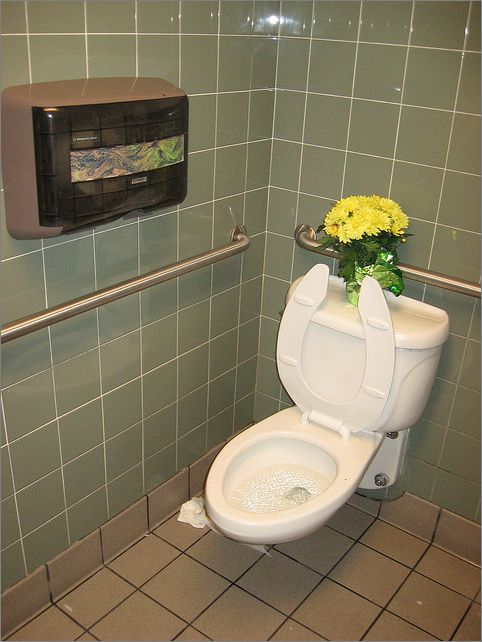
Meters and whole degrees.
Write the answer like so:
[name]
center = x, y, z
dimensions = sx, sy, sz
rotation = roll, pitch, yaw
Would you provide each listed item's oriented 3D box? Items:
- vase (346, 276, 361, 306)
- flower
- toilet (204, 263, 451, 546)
[vase]
center = 0.314, -0.085, 1.454
dimensions = 0.036, 0.068, 0.038
rotation = 24, 50, 24
[flower]
center = 0.358, -0.224, 1.509
dimensions = 0.250, 0.301, 0.291
rotation = 4, 30, 25
[toilet]
center = 0.189, 0.260, 1.437
dimensions = 0.420, 0.782, 0.731
rotation = 18, 26, 35
